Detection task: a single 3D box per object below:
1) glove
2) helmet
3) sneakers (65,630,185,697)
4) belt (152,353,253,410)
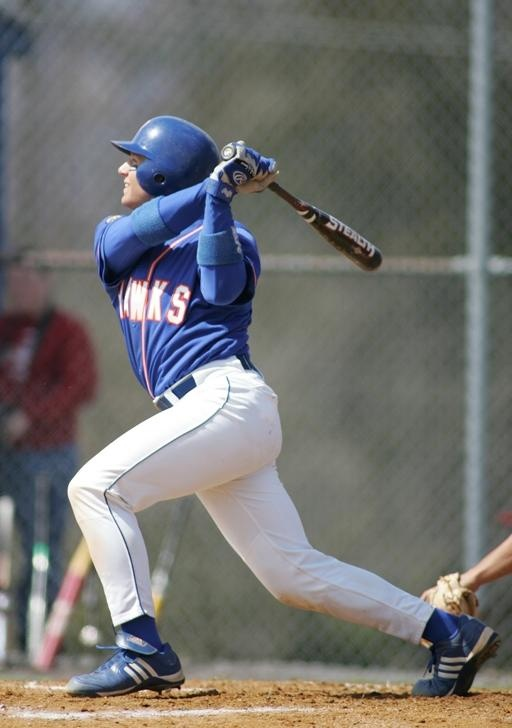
[{"bbox_3d":[-0.029,-0.486,2.915,0.169,0.168,0.073,-32,57,-32],"label":"glove"},{"bbox_3d":[-0.217,-0.551,3.106,0.268,0.203,0.192,17,5,4],"label":"helmet"},{"bbox_3d":[-0.312,0.752,2.904,0.337,0.166,0.128,1,-8,-15],"label":"sneakers"},{"bbox_3d":[-0.137,0.058,2.994,0.073,0.201,0.146,55,10,-9],"label":"belt"}]
